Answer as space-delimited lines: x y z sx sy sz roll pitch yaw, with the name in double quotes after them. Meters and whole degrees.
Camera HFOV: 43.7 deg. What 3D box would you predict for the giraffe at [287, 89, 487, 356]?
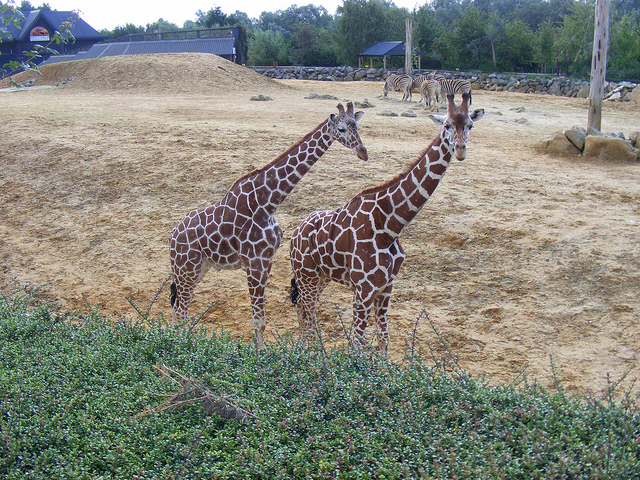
0.866 -0.290 12.460 2.613 4.007 1.149 0 16 -3 "giraffe"
